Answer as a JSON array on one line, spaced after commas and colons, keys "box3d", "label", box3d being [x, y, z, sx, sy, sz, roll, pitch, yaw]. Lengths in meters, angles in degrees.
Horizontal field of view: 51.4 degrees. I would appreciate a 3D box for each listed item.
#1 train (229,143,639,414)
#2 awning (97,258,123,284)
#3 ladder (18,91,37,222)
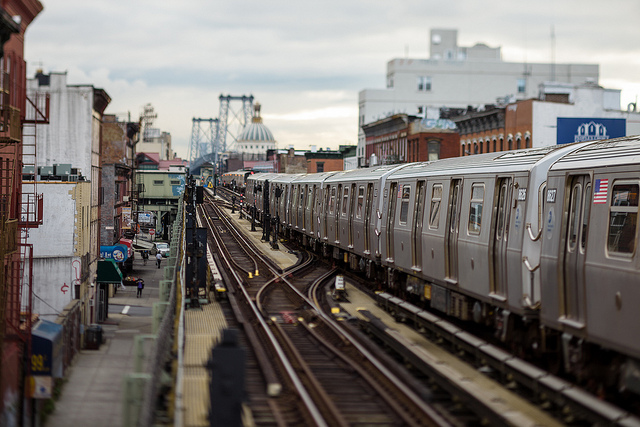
[{"box3d": [2.635, -0.275, 23.607, 3.246, 3.474, 26.578, 1, 8, -18], "label": "train"}, {"box3d": [-12.365, 3.445, 38.868, 1.141, 1.168, 2.188, -1, 1, -6], "label": "awning"}, {"box3d": [-9.376, -1.811, 21.259, 0.737, 4.358, 0.078, -2, -4, 18], "label": "ladder"}]
